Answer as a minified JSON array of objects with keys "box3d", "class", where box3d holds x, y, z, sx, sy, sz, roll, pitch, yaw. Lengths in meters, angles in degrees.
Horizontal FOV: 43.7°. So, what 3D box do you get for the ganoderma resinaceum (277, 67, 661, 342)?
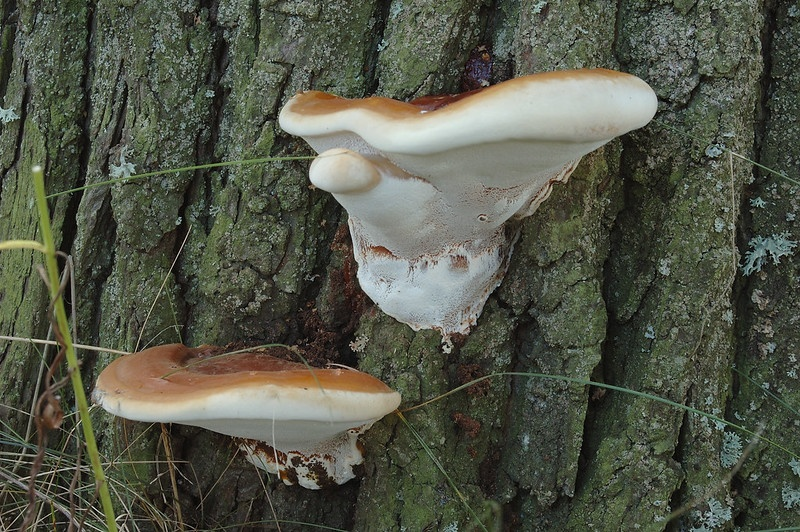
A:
[{"box3d":[0.130,-0.344,5.352,1.581,1.232,1.720,-7,7,-24],"class":"ganoderma resinaceum"}]
